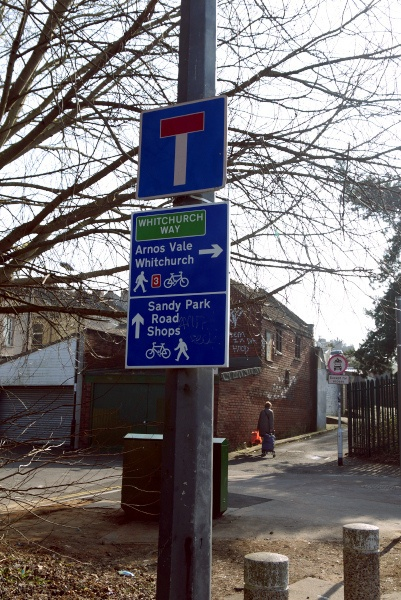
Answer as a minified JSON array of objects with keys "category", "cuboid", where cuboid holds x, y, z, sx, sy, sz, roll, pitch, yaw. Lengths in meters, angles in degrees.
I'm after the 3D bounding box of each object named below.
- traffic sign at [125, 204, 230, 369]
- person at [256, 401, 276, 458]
[{"category":"traffic sign","cuboid":[-0.105,-0.068,2.439,0.591,0.785,0.134,-1,-6,30]},{"category":"person","cuboid":[2.182,4.305,17.067,0.537,1.855,1.059,1,-6,7]}]
